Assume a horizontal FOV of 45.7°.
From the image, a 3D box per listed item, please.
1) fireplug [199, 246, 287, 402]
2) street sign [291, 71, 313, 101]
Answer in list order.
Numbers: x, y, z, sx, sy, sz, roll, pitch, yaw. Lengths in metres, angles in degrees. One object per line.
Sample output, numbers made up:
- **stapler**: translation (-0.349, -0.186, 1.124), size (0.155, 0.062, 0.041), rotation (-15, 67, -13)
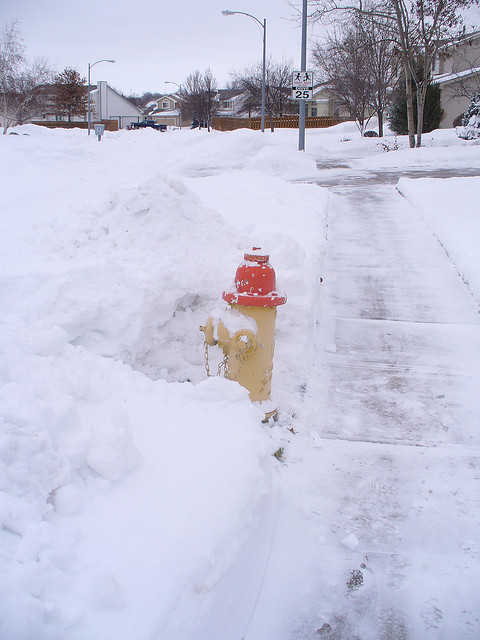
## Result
- **fireplug**: translation (0.017, 0.084, 4.186), size (0.592, 1.305, 0.544), rotation (7, 15, 14)
- **street sign**: translation (1.532, -5.758, 13.935), size (0.470, 0.689, 0.715), rotation (1, 10, 4)
